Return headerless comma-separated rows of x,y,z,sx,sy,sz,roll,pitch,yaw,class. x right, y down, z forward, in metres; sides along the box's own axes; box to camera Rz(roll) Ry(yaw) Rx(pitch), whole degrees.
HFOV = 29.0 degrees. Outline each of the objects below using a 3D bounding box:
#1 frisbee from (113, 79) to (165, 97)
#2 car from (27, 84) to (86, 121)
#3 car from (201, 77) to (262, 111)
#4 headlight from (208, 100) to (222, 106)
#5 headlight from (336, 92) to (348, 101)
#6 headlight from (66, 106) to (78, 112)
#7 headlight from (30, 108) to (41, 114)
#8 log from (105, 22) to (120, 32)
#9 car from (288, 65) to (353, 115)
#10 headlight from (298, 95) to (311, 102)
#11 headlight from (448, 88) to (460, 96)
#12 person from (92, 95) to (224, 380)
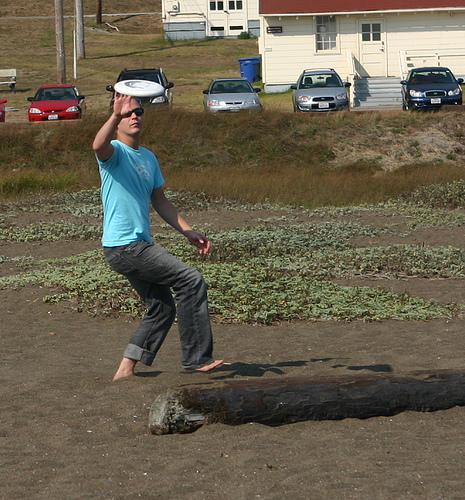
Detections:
-0.688,-1.188,6.603,0.348,0.123,0.387,-3,11,0,frisbee
-5.111,-4.275,26.010,1.405,0.725,1.969,-2,4,-4,car
-0.076,-4.594,26.279,1.620,0.922,2.291,-1,23,1,car
-0.519,-4.113,25.132,0.397,0.165,0.203,1,13,17,headlight
3.135,-4.470,26.165,0.351,0.133,0.391,-3,8,5,headlight
-4.551,-3.975,25.340,0.321,0.148,0.137,-4,13,-8,headlight
-5.580,-3.920,25.336,0.338,0.155,0.119,6,17,36,headlight
-8.612,-15.860,63.734,0.885,0.681,2.741,-5,12,-8,log
2.583,-4.955,27.308,1.825,1.087,2.580,-4,23,-1,car
2.040,-4.389,25.984,0.142,0.186,0.402,-15,17,-40,headlight
6.467,-4.628,26.316,0.279,0.077,0.182,-13,-7,29,headlight
-0.605,-0.042,6.890,0.822,2.290,0.552,-5,15,-2,person
